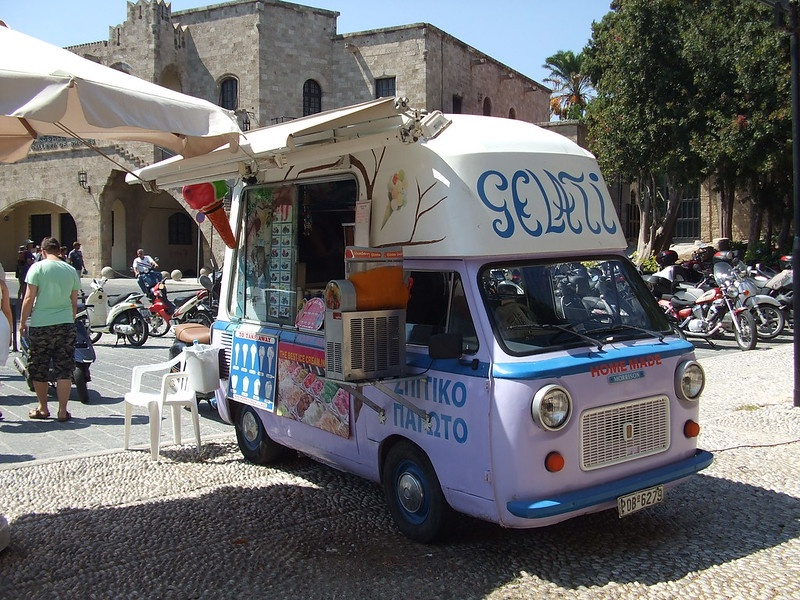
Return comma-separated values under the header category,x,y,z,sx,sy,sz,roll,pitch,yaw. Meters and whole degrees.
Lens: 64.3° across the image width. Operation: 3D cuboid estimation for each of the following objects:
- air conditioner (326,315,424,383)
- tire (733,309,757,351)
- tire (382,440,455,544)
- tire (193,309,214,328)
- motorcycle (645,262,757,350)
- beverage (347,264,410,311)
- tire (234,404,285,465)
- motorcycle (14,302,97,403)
category,x,y,z,sx,sy,sz,roll,pitch,yaw
air conditioner,-0.189,0.184,4.827,0.682,0.720,0.417,-1,3,-34
tire,6.969,0.611,12.868,0.338,0.772,0.589,0,6,4
tire,0.158,1.443,4.770,0.230,0.888,0.685,-8,11,-33
tire,-4.068,0.395,13.164,0.276,0.322,0.111,5,2,34
motorcycle,5.750,0.146,11.948,1.144,1.464,2.232,-6,16,-33
beverage,-0.162,-0.155,4.834,0.407,0.401,0.308,-3,2,-35
tire,-1.405,1.367,6.438,0.210,0.670,0.589,-5,9,-37
motorcycle,-5.068,0.815,9.493,1.020,1.441,1.932,3,-1,-42
